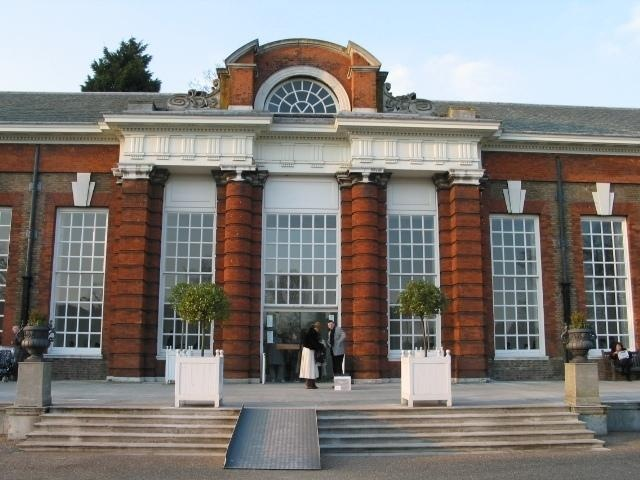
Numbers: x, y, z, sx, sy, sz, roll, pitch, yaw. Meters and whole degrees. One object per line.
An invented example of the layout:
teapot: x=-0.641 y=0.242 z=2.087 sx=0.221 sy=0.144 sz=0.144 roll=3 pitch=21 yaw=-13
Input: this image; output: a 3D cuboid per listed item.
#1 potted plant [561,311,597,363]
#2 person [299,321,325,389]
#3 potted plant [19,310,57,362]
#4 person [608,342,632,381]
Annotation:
potted plant: x=6.497 y=2.376 z=19.359 sx=0.881 sy=1.219 sz=0.642 roll=-3 pitch=-8 yaw=9
person: x=-0.253 y=3.388 z=22.636 sx=0.672 sy=1.919 sz=0.907 roll=-1 pitch=-11 yaw=0
potted plant: x=-6.834 y=2.300 z=18.528 sx=0.597 sy=1.246 sz=0.677 roll=3 pitch=-12 yaw=-20
person: x=10.071 y=4.069 z=25.808 sx=0.720 sy=1.204 sz=0.802 roll=-5 pitch=-11 yaw=20
